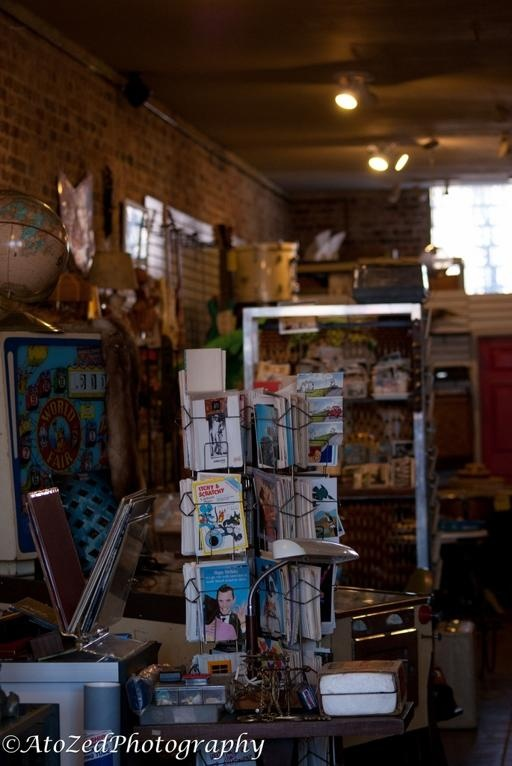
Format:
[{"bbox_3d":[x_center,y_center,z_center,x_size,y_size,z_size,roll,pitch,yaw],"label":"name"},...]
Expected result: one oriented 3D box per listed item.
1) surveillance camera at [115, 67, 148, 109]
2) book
[{"bbox_3d":[-0.981,-2.311,6.831,0.225,0.284,0.086,-7,29,-5],"label":"surveillance camera"},{"bbox_3d":[0.043,0.390,2.585,0.300,0.936,0.665,-3,-4,-7],"label":"book"}]
